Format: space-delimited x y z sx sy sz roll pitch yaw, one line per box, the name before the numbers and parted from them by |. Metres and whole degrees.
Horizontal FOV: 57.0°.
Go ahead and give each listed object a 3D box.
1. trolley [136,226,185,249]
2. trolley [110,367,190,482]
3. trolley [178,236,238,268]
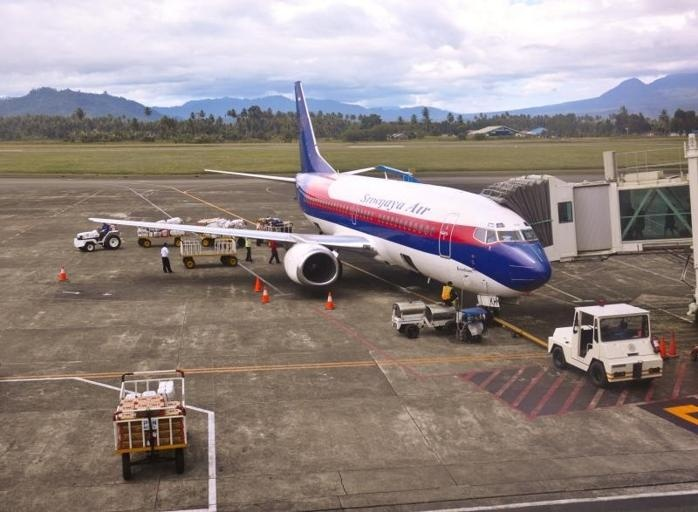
trolley | -15.731 -1.526 52.922 4.564 2.065 2.053 0 3 -23
trolley | -6.462 5.480 22.354 2.718 2.398 4.613 -1 3 -13
trolley | -9.975 -0.354 46.318 4.796 2.012 2.545 -2 10 -14
